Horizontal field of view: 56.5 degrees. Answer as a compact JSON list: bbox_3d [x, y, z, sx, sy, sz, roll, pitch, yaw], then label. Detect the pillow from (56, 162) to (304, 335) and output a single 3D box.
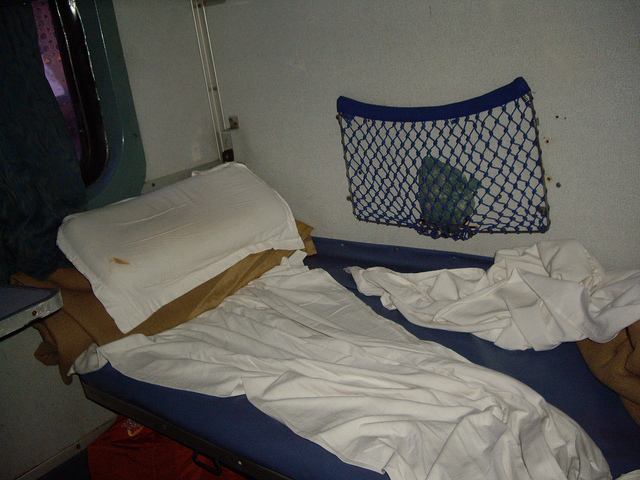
[{"bbox_3d":[-0.583,-0.027,2.550,0.764,0.222,0.657,-31,69,-31],"label":"pillow"}]
